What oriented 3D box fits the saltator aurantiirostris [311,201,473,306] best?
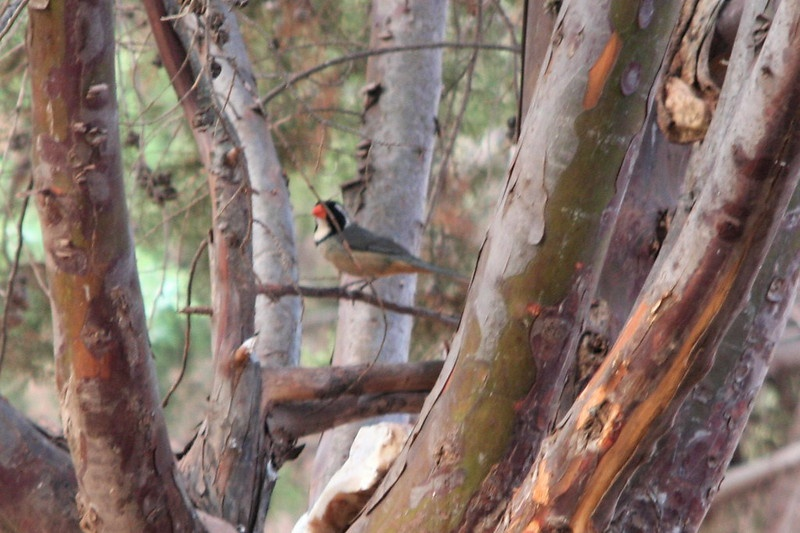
[{"bbox_3d":[0.055,-0.120,12.200,1.276,0.914,0.488,1,-2,-19],"label":"saltator aurantiirostris"}]
